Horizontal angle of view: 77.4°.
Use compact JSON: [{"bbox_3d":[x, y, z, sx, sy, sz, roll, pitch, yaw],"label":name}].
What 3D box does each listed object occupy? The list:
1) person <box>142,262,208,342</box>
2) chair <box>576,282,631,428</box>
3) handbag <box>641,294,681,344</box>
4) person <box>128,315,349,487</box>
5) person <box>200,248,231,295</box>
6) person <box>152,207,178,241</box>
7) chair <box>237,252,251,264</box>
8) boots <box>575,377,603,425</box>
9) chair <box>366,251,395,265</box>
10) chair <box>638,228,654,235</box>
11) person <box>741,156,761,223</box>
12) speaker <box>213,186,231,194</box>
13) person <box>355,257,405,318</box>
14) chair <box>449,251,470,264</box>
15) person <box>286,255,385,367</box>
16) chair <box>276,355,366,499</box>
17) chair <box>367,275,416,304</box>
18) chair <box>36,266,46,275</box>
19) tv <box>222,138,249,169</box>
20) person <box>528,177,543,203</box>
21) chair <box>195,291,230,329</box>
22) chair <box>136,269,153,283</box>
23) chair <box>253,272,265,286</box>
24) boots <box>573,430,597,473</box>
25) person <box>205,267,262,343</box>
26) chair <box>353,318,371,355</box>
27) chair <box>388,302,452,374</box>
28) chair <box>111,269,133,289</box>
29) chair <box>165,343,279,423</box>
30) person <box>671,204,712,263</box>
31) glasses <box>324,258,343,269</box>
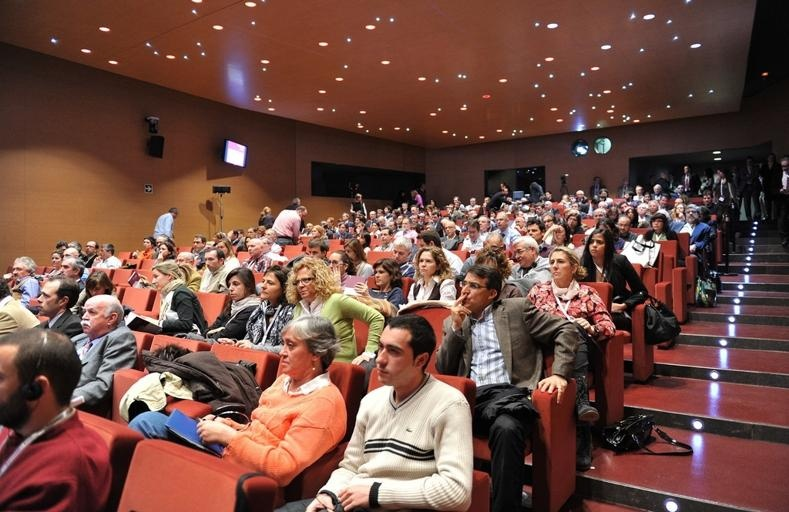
[{"bbox_3d":[-2.391,0.514,5.360,0.643,0.935,0.554,-8,-2,39],"label":"person"},{"bbox_3d":[1.680,0.861,4.395,0.572,1.104,0.748,-7,-10,16],"label":"chair"},{"bbox_3d":[2.623,0.626,4.863,0.489,0.512,0.237,-8,-9,-38],"label":"handbag"},{"bbox_3d":[-0.947,0.859,2.909,1.303,1.004,0.779,7,2,-31],"label":"person"},{"bbox_3d":[-2.425,0.216,6.698,0.373,0.692,0.686,-5,12,-41],"label":"person"},{"bbox_3d":[-5.858,-0.865,12.462,0.615,1.166,1.089,4,-2,-29],"label":"person"},{"bbox_3d":[-2.668,0.032,8.703,0.195,0.302,0.229,0,-3,-20],"label":"chair"},{"bbox_3d":[1.381,1.036,3.562,0.132,0.289,0.377,-1,-13,15],"label":"boots"},{"bbox_3d":[-0.297,-0.012,8.479,0.399,0.312,0.227,-1,-9,5],"label":"chair"},{"bbox_3d":[3.935,-0.389,7.698,0.170,0.138,0.175,0,-2,-19],"label":"chair"},{"bbox_3d":[9.101,-1.803,12.593,0.420,1.654,1.782,1,4,35],"label":"person"},{"bbox_3d":[-5.085,-1.971,14.406,0.494,0.190,0.714,-2,3,-26],"label":"speaker"},{"bbox_3d":[-0.167,0.434,5.361,0.473,0.824,0.413,7,2,27],"label":"person"},{"bbox_3d":[1.009,0.027,7.435,0.229,0.195,0.236,-2,-15,16],"label":"chair"},{"bbox_3d":[-0.557,0.493,4.317,0.832,1.048,0.604,-4,8,8],"label":"person"},{"bbox_3d":[-0.599,1.126,3.301,0.695,0.841,0.586,-11,-18,41],"label":"chair"},{"bbox_3d":[0.027,0.389,5.432,0.331,0.334,0.326,18,-26,-35],"label":"chair"},{"bbox_3d":[-7.381,0.306,10.242,0.159,0.244,0.178,-1,3,-40],"label":"chair"},{"bbox_3d":[-4.862,-3.158,14.880,0.126,0.751,0.972,2,-2,27],"label":"tv"},{"bbox_3d":[4.588,-2.108,15.877,0.411,0.746,1.798,0,3,16],"label":"person"},{"bbox_3d":[-2.031,0.603,5.512,0.356,0.459,0.352,5,-8,-43],"label":"chair"},{"bbox_3d":[-4.132,0.332,8.109,0.182,0.142,0.188,23,-1,-28],"label":"chair"},{"bbox_3d":[-1.608,0.276,5.810,0.133,0.160,0.161,0,1,0],"label":"chair"},{"bbox_3d":[1.415,1.476,3.692,0.112,0.412,0.269,0,12,27],"label":"boots"},{"bbox_3d":[-1.683,0.531,5.025,0.553,0.815,0.633,5,1,26],"label":"person"},{"bbox_3d":[-0.297,0.718,4.379,0.185,0.269,0.191,5,6,-33],"label":"chair"},{"bbox_3d":[0.252,0.552,4.313,0.383,0.435,0.412,28,-5,12],"label":"chair"},{"bbox_3d":[-4.393,0.372,7.926,0.205,0.224,0.221,-1,-4,7],"label":"chair"},{"bbox_3d":[-1.181,0.873,3.426,0.385,0.191,0.534,0,-1,39],"label":"chair"},{"bbox_3d":[4.587,-0.318,7.623,0.535,1.001,0.522,3,3,26],"label":"person"},{"bbox_3d":[-0.663,0.081,5.386,0.087,0.079,0.060,25,-8,29],"label":"glasses"}]
